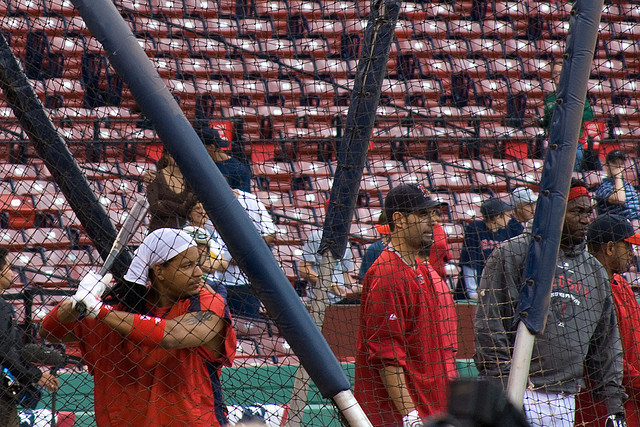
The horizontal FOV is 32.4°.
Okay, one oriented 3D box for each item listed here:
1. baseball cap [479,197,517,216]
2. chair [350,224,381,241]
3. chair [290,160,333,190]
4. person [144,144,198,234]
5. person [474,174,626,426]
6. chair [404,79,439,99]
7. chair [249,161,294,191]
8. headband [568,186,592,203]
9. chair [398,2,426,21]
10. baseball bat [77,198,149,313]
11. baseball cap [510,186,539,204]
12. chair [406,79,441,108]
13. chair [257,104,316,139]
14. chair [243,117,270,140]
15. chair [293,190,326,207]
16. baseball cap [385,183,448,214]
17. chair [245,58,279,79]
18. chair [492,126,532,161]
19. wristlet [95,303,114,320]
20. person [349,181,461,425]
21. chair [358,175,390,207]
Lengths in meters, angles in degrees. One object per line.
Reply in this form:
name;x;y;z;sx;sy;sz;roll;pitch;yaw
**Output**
baseball cap;1.147;-0.055;7.335;0.190;0.069;0.122;-8;8;-26
chair;0.326;0.145;8.417;0.144;0.217;0.158;-1;-5;35
chair;-0.066;-0.290;7.290;0.207;0.233;0.220;3;-15;-10
person;-0.874;-0.107;6.410;0.306;0.493;1.237;0;-16;-8
person;1.374;0.516;6.709;0.822;1.527;1.570;-6;-16;14
chair;0.670;-0.811;7.301;0.248;0.138;0.167;0;2;-15
chair;-0.321;-0.259;7.217;0.195;0.266;0.234;2;-10;-8
headband;1.642;-0.133;6.960;0.114;0.063;0.150;-3;4;13
chair;0.590;-1.281;6.953;0.152;0.164;0.114;-4;-15;5
baseball bat;-1.222;0.251;6.467;0.108;0.739;0.076;30;-9;7
baseball cap;1.228;-0.115;6.637;0.133;0.071;0.095;-10;-1;4
chair;0.699;-0.796;7.284;0.237;0.106;0.233;0;6;-39
chair;-0.162;-0.633;7.323;0.169;0.132;0.412;-19;-9;9
chair;-0.398;-0.528;6.889;0.151;0.145;0.151;4;2;-3
chair;-0.087;-0.108;7.524;0.137;0.168;0.119;-3;-9;23
baseball cap;0.596;-0.089;7.002;0.310;0.154;0.200;-1;0;8
chair;-0.376;-0.951;7.223;0.158;0.173;0.128;0;-3;29
chair;1.196;-0.441;6.929;0.234;0.246;0.197;-7;9;-44
wristlet;-1.228;0.561;6.255;0.105;0.113;0.196;1;-16;-11
person;0.529;0.516;6.819;0.780;1.552;0.765;2;-15;-15
chair;0.359;-0.153;7.608;0.195;0.326;0.232;0;-7;-1
